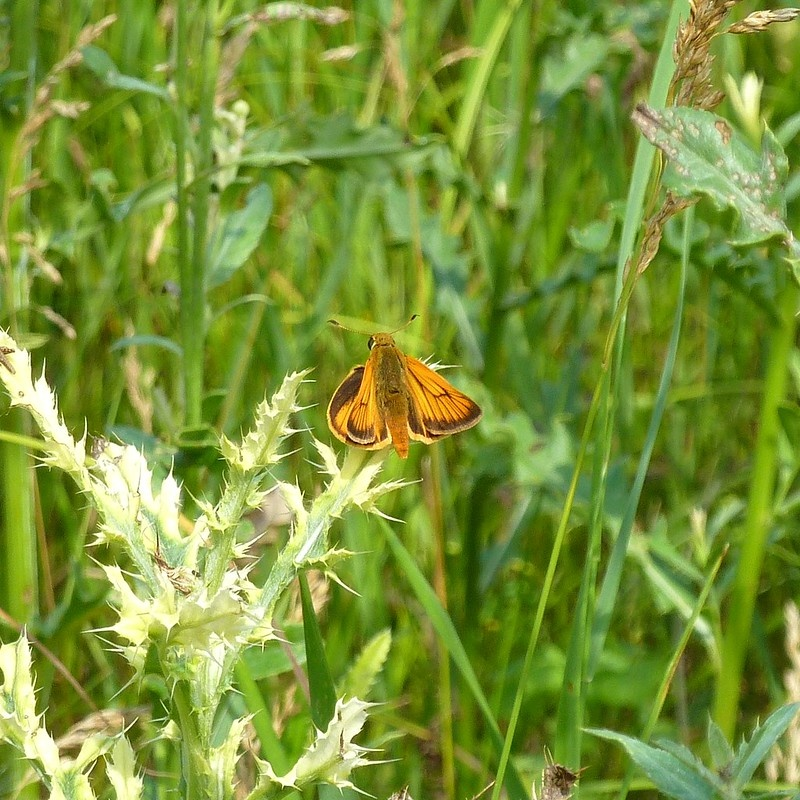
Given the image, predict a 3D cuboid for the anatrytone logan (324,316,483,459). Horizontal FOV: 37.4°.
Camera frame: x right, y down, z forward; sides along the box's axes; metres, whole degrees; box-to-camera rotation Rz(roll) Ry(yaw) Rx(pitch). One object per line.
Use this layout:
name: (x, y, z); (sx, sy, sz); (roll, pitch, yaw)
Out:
anatrytone logan: (0.045, -0.071, 2.545); (0.338, 0.392, 0.121); (30, 76, 41)
